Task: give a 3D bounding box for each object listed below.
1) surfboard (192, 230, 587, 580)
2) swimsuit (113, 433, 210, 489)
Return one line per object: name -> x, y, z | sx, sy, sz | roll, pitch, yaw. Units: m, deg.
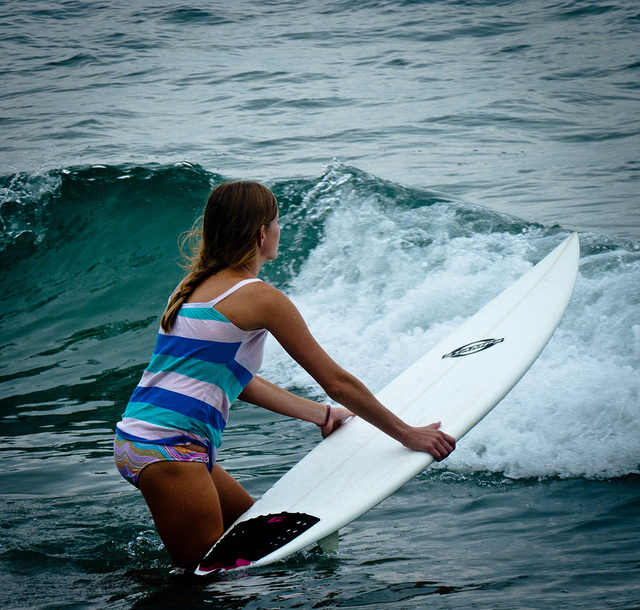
surfboard -> 1.153, 0.400, 5.117 | 4.257, 0.424, 0.901 | -25, 21, -30
swimsuit -> -0.690, 0.758, 4.229 | 0.601, 0.226, 0.471 | 1, -2, -17
